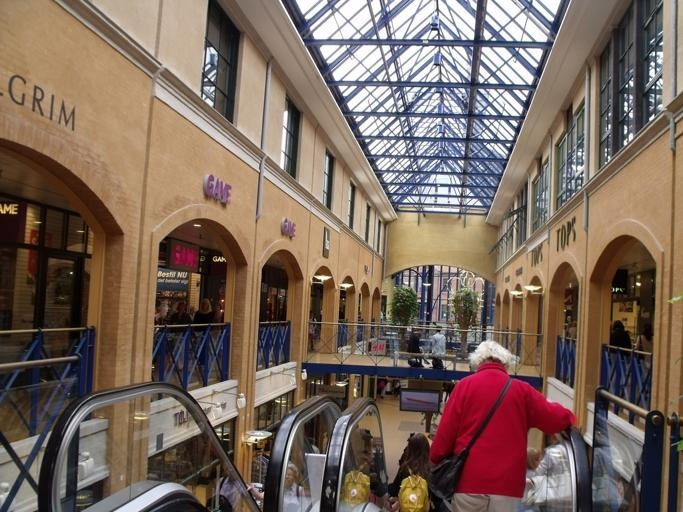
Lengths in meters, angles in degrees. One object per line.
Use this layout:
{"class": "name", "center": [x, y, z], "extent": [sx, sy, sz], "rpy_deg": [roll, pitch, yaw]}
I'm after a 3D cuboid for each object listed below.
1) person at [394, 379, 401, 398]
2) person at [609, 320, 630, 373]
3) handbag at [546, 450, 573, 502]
{"class": "person", "center": [3.587, 8.308, 31.353], "extent": [0.414, 1.003, 1.441], "rpy_deg": [1, -9, 4]}
{"class": "person", "center": [6.158, 2.058, 10.800], "extent": [0.356, 1.386, 0.408], "rpy_deg": [-11, 4, -37]}
{"class": "handbag", "center": [1.836, 1.843, 4.127], "extent": [0.091, 0.414, 0.379], "rpy_deg": [4, 6, 2]}
